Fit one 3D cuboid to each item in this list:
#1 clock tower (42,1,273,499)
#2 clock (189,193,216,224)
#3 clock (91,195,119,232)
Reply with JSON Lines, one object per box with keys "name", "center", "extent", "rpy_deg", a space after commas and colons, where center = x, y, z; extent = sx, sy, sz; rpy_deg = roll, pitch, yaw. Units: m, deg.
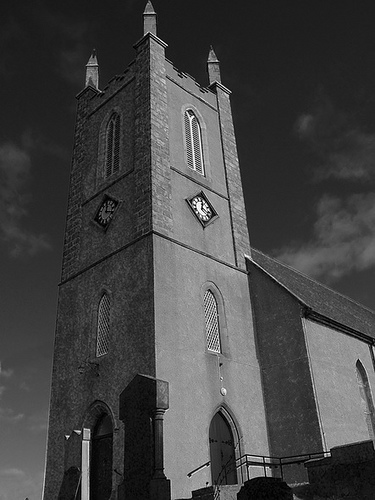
{"name": "clock tower", "center": [-0.904, -1.558, 17.491], "extent": [6.270, 18.428, 4.236], "rpy_deg": [3, -30, -11]}
{"name": "clock", "center": [0.507, -1.404, 17.282], "extent": [0.192, 0.907, 0.931], "rpy_deg": [-23, -74, 42]}
{"name": "clock", "center": [-2.714, -1.266, 17.076], "extent": [0.955, 1.014, 0.070], "rpy_deg": [5, -15, 40]}
